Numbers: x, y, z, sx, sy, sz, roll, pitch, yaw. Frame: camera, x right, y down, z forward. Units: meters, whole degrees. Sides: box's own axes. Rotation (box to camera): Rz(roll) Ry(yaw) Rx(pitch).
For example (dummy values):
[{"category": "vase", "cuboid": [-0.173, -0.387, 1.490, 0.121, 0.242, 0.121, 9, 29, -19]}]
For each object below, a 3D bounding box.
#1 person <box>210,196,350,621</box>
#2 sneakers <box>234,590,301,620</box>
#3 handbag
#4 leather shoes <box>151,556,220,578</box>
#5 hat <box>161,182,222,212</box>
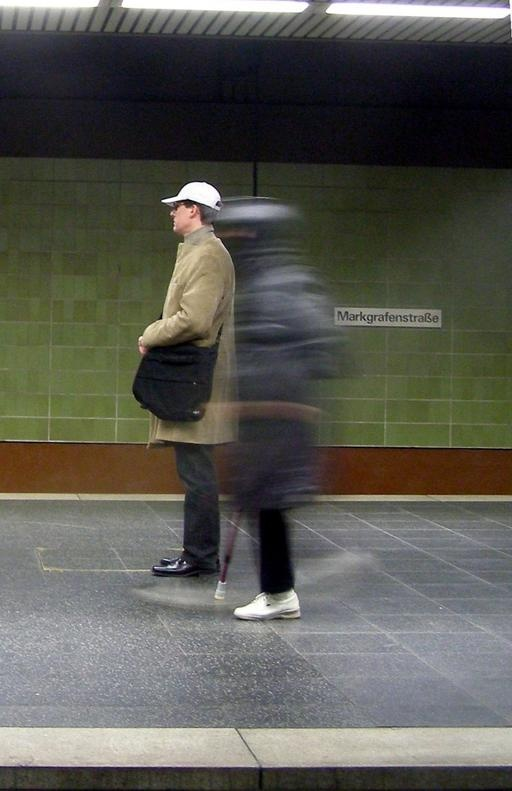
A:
[{"category": "person", "cuboid": [0.074, 0.108, 3.431, 0.530, 1.813, 0.382, 0, 3, -18]}, {"category": "sneakers", "cuboid": [0.068, 0.945, 3.695, 0.347, 0.133, 0.114, 2, -4, -11]}, {"category": "handbag", "cuboid": [-0.399, -0.074, 4.266, 0.427, 0.408, 0.182, 14, 4, 17]}, {"category": "leather shoes", "cuboid": [-0.390, 0.934, 4.520, 0.393, 0.141, 0.125, 5, -7, -6]}, {"category": "hat", "cuboid": [-0.340, -1.052, 4.328, 0.296, 0.115, 0.170, 1, 7, -1]}]
